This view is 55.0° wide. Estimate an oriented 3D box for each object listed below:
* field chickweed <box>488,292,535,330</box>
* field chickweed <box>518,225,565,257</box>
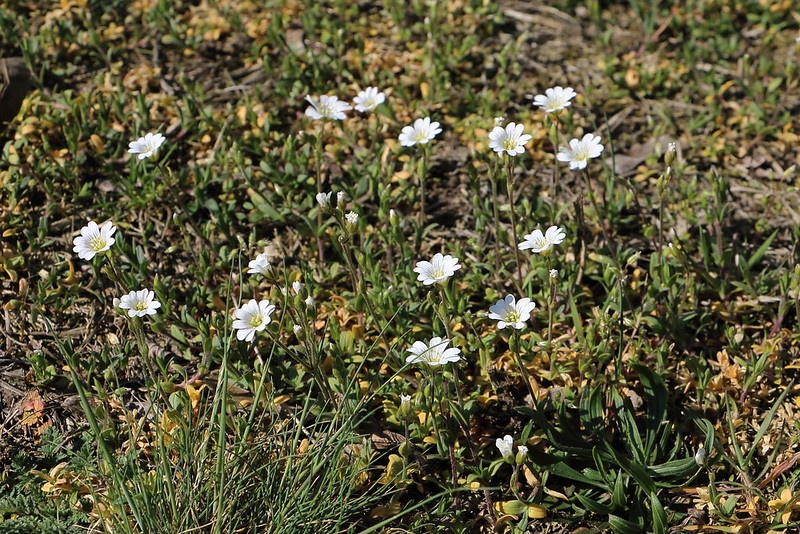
[{"bbox_3d":[0.680,0.310,4.774,0.251,0.252,0.231,7,56,0],"label":"field chickweed"},{"bbox_3d":[0.933,-0.188,4.901,0.222,0.073,0.233,0,43,46],"label":"field chickweed"}]
